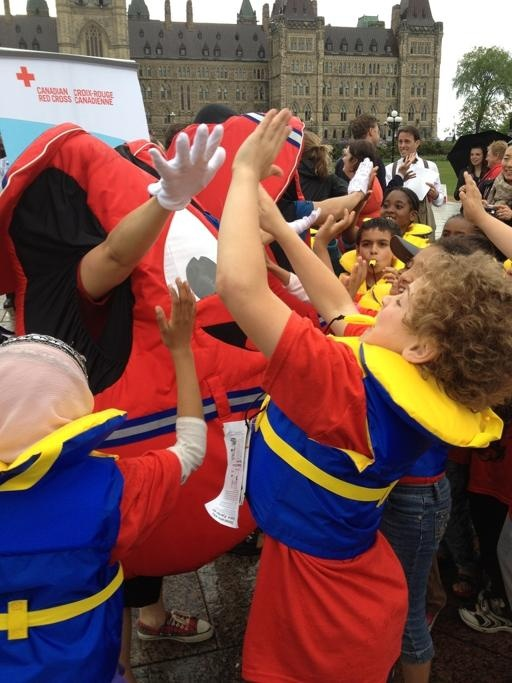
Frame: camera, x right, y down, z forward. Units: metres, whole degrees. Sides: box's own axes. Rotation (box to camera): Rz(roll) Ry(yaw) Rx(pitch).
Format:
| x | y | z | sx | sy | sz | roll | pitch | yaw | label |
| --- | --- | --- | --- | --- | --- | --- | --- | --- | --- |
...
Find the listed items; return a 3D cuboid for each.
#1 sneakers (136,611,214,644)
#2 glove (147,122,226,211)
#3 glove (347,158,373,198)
| x | y | z | sx | sy | sz | roll | pitch | yaw | label |
| --- | --- | --- | --- | --- | --- | --- | --- | --- | --- |
| -0.294 | 1.052 | 2.125 | 0.270 | 0.101 | 0.107 | 0 | 5 | -1 | sneakers |
| -0.153 | -0.390 | 1.289 | 0.173 | 0.192 | 0.225 | -3 | 19 | -10 | glove |
| 0.523 | -0.818 | 2.883 | 0.099 | 0.073 | 0.326 | -2 | 40 | 28 | glove |
